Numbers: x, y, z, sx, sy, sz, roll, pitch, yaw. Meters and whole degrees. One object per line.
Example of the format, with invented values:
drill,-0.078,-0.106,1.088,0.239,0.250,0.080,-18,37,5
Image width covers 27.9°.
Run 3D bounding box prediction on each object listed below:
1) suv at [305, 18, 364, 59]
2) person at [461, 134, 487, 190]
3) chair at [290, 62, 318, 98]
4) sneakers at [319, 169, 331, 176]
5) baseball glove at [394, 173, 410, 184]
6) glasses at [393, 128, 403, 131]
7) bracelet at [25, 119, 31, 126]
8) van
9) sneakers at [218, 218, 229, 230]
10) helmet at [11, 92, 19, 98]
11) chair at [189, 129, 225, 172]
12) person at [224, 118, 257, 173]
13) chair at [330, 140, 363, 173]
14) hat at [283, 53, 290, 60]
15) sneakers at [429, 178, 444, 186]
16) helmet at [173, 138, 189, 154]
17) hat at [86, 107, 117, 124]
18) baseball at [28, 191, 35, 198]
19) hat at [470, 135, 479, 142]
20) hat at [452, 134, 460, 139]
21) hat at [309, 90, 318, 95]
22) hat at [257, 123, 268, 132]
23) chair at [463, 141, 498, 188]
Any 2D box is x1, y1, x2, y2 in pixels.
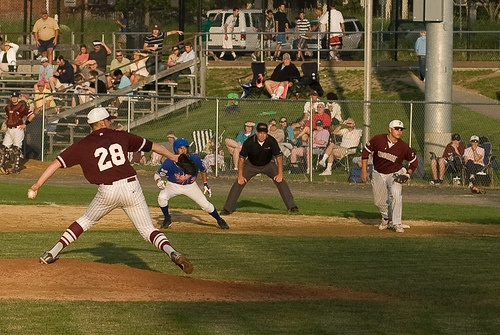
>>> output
suv,4.146,-6.246,50.030,2.912,1.483,1.736,3,20,1
person,7.836,-0.140,35.797,0.751,1.923,0.813,3,7,36
chair,2.384,-3.718,43.217,1.069,1.444,1.096,-2,5,15
sneakers,2.782,0.241,37.892,0.402,0.174,0.151,-1,8,11
baseball glove,4.386,0.366,29.761,0.497,0.297,0.425,1,7,22
glasses,4.382,-1.110,29.840,0.206,0.079,0.484,2,7,28
bracelet,-8.873,-1.781,40.593,0.275,0.085,0.090,-24,-3,-34
van,-0.765,-6.720,50.542,1.970,1.624,3.107,3,14,19
sneakers,-0.872,1.726,30.698,0.214,0.417,0.185,-41,-21,-5
helmet,-9.187,-2.824,39.673,0.429,0.269,0.591,-1,0,-11
chair,-1.602,-0.629,39.065,0.989,1.827,0.881,9,24,42
person,-0.334,-0.769,37.905,1.047,2.060,1.156,9,-7,20
chair,3.469,-0.496,37.951,0.830,1.146,0.828,9,-5,-35
hat,1.523,-4.709,43.238,0.232,0.192,0.393,-4,16,3
sneakers,6.709,0.566,36.724,0.451,0.199,0.154,-3,0,17
helmet,-1.974,-0.629,29.189,0.428,0.420,0.343,3,10,32
hat,-3.844,-1.307,25.776,0.521,0.279,0.382,-14,12,-29
baseball,-5.541,0.716,25.801,0.145,0.076,0.192,7,39,-8
hat,7.905,-1.001,35.926,0.301,0.151,0.438,0,1,8
hat,7.295,-1.070,36.218,0.261,0.208,0.524,-1,7,9
hat,2.482,-2.955,40.158,0.316,0.153,0.432,1,5,-1
hat,0.348,-1.187,31.139,0.297,0.245,0.288,-1,6,9
chair,8.124,-0.093,36.193,1.294,2.204,1.617,-1,6,12
